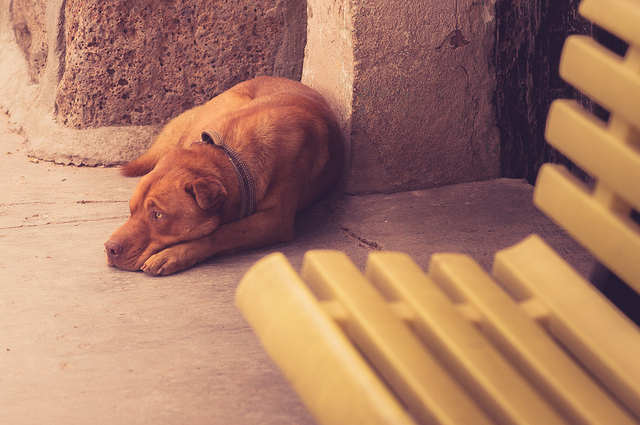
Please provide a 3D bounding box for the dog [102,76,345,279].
[{"bbox_3d":[-0.621,-0.432,4.093,1.411,0.758,2.195,5,33,11],"label":"dog"}]
